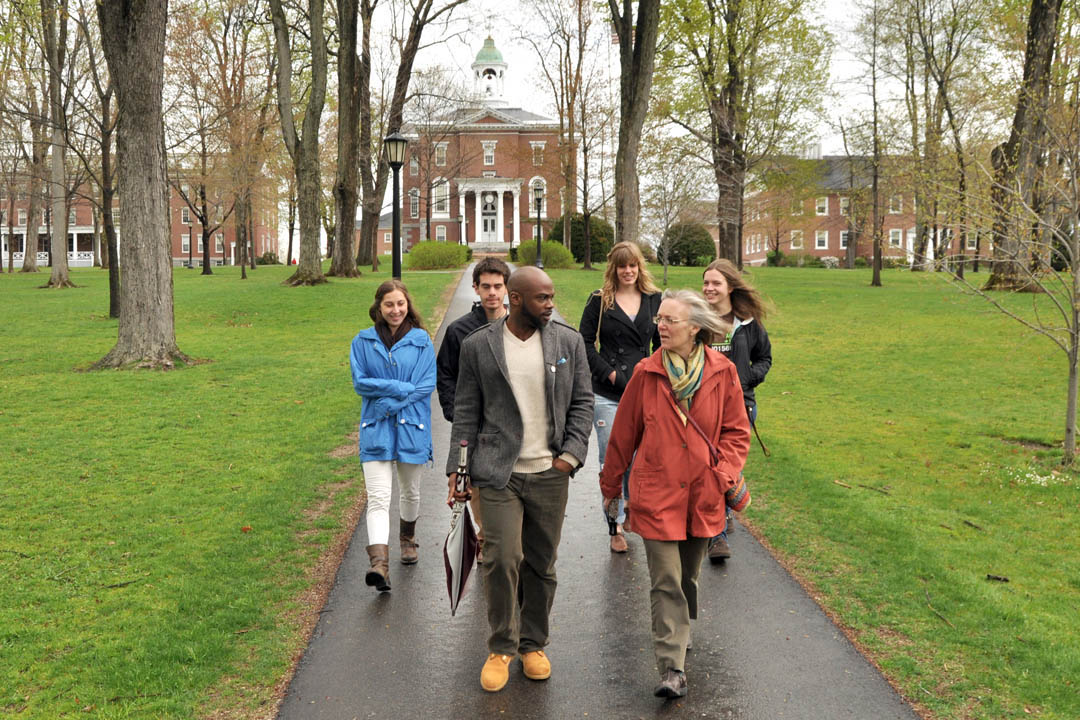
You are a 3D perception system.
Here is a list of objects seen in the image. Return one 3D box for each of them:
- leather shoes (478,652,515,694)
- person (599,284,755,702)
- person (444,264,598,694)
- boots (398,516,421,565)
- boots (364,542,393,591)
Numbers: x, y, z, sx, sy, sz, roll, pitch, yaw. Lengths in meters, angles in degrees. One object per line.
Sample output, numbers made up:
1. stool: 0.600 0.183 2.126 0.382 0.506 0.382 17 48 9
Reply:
1. leather shoes: -0.353 2.446 6.630 0.229 0.235 0.193 -1 14 -7
2. person: 1.185 1.010 6.728 1.004 2.991 1.041 -6 16 -26
3. person: -0.153 0.903 6.694 1.143 3.204 0.988 -1 14 -7
4. boots: -1.290 1.795 8.380 0.192 0.387 0.387 0 16 -20
5. boots: -1.478 1.918 7.756 0.224 0.463 0.328 -2 14 -12
